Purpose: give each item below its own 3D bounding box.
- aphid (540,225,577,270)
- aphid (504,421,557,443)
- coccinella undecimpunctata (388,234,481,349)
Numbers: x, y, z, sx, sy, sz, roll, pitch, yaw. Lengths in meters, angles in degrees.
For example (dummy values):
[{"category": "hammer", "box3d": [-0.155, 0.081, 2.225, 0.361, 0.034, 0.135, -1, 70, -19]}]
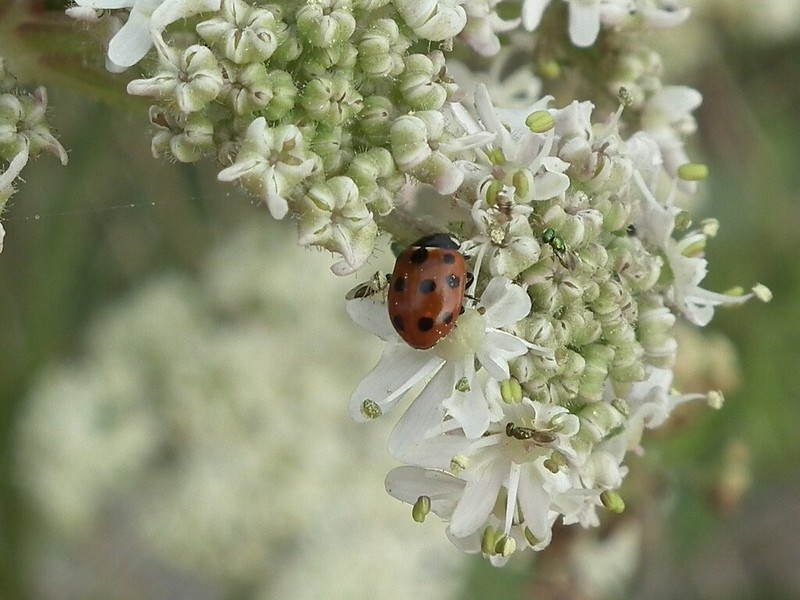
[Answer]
[{"category": "aphid", "box3d": [0.209, -0.067, 1.319, 0.038, 0.020, 0.056, -47, 112, -12]}, {"category": "aphid", "box3d": [0.173, 0.177, 1.330, 0.060, 0.025, 0.025, 9, 107, 8]}, {"category": "coccinella undecimpunctata", "box3d": [0.035, -0.014, 1.314, 0.132, 0.060, 0.181, -3, 54, 12]}]
